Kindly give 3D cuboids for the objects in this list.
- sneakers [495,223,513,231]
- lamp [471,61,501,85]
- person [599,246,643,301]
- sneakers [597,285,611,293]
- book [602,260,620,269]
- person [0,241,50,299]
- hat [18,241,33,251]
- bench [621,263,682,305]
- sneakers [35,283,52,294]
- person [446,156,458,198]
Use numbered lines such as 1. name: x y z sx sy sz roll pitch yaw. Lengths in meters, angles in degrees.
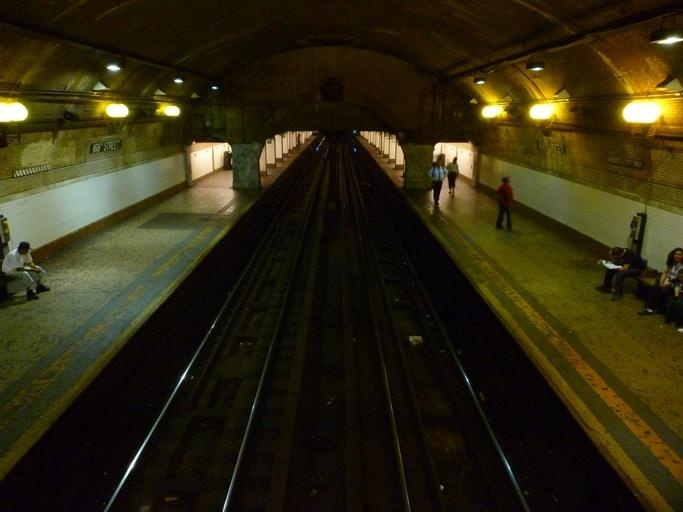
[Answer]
1. sneakers: 4.661 -0.820 14.091 0.175 0.119 0.391 20 24 38
2. lamp: 4.020 -5.057 13.671 0.545 0.218 0.878 4 9 26
3. person: 5.463 0.282 9.490 0.700 0.963 0.492 -10 13 0
4. sneakers: 5.235 0.687 9.745 0.103 0.115 0.266 -2 21 -3
5. book: 5.214 0.196 9.495 0.161 0.067 0.218 -3 16 9
6. person: -6.347 0.327 9.756 0.836 1.264 0.723 1 22 -9
7. hat: -6.373 -0.186 9.834 0.154 0.213 0.205 2 21 -33
8. bench: 5.876 0.575 9.468 0.589 0.510 0.972 -8 29 7
9. sneakers: -5.978 0.630 9.794 0.275 0.170 0.090 -11 33 -36
10. person: 4.288 -3.114 19.024 0.393 1.400 1.490 5 14 11
